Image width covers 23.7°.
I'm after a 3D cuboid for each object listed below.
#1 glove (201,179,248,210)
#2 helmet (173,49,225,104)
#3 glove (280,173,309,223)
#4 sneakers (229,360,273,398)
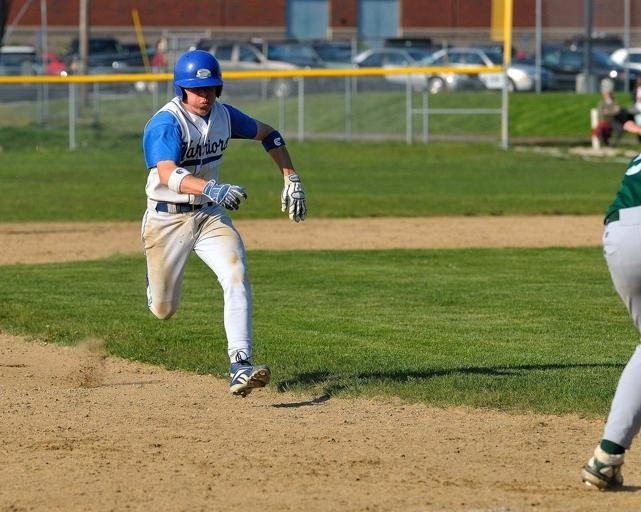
[{"bbox_3d":[-0.858,-0.545,13.753,0.378,0.219,0.113,26,12,15],"label":"glove"},{"bbox_3d":[-1.127,-1.618,14.055,0.369,0.361,0.494,-2,28,-13],"label":"helmet"},{"bbox_3d":[-0.270,-0.529,14.462,0.261,0.426,0.153,-10,-7,2],"label":"glove"},{"bbox_3d":[-0.731,1.142,13.943,0.500,0.269,0.184,-33,-4,38],"label":"sneakers"}]
